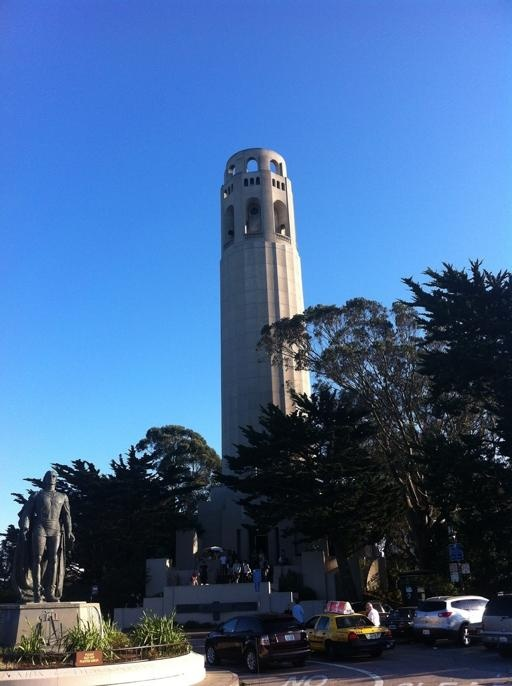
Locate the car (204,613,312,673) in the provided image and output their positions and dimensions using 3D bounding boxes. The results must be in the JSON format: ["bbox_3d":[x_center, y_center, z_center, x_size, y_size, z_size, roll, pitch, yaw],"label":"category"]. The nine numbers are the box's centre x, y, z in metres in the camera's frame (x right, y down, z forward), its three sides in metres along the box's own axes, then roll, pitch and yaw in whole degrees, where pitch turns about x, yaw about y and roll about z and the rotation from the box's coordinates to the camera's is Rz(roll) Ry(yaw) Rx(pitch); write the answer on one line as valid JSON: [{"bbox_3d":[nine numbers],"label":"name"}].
[{"bbox_3d":[-0.213,7.174,17.266,1.368,1.054,2.696,22,-35,-34],"label":"car"}]

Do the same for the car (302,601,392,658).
[{"bbox_3d":[2.363,7.538,18.687,1.251,1.076,2.281,4,-21,-20],"label":"car"}]

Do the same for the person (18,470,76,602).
[{"bbox_3d":[-4.657,4.224,15.943,1.153,2.798,0.689,2,-21,-16],"label":"person"}]

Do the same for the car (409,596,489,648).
[{"bbox_3d":[5.652,7.676,20.099,2.568,1.025,1.209,8,-24,-32],"label":"car"}]
